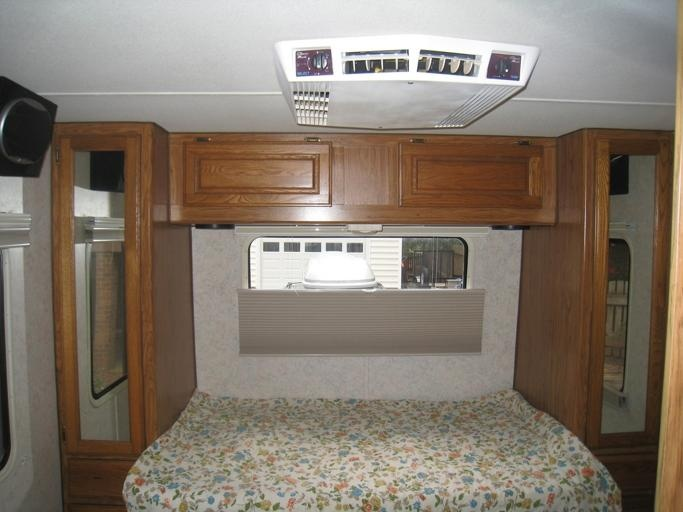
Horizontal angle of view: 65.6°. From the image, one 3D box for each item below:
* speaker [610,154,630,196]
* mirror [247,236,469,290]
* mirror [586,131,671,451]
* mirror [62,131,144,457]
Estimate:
[{"bbox_3d":[1.606,-0.464,3.061,0.112,0.222,0.053,-1,12,-4],"label":"speaker"},{"bbox_3d":[0.124,0.049,3.726,1.565,0.363,0.234,-1,12,-7],"label":"mirror"},{"bbox_3d":[1.648,0.213,3.073,0.546,1.835,0.342,-1,12,-6],"label":"mirror"},{"bbox_3d":[-1.341,0.218,2.981,0.483,1.985,0.086,-1,0,-7],"label":"mirror"}]
